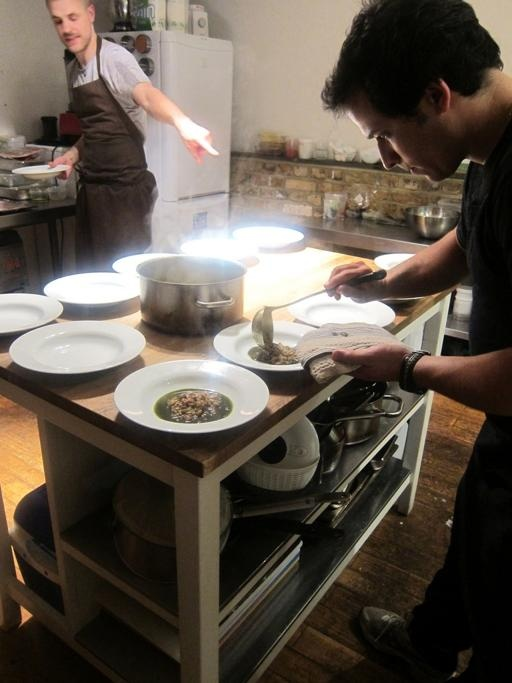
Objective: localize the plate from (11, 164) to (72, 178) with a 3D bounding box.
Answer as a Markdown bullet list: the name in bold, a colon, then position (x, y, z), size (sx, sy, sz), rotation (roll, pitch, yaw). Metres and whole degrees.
- **plate**: position (-0.942, -0.758, 2.436), size (0.170, 0.025, 0.168), rotation (-21, 36, -39)

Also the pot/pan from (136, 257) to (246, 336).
- **pot/pan**: position (-0.132, -0.093, 1.148), size (0.197, 0.085, 0.236), rotation (-12, 27, -29)

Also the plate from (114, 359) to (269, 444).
- **plate**: position (-0.107, 0.094, 0.870), size (0.146, 0.017, 0.135), rotation (-6, 27, -20)

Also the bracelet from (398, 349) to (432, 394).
- **bracelet**: position (0.260, 0.055, 0.887), size (0.049, 0.073, 0.062), rotation (13, 23, 37)

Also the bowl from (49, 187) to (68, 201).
- **bowl**: position (-1.071, -0.797, 2.971), size (0.086, 0.046, 0.080), rotation (2, 31, -1)

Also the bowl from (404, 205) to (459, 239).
- **bowl**: position (0.945, -0.630, 2.958), size (0.281, 0.132, 0.258), rotation (-2, 24, 1)

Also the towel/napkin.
- **towel/napkin**: position (0.148, 0.009, 0.969), size (0.143, 0.038, 0.134), rotation (-11, 27, -17)

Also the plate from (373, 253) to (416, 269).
- **plate**: position (0.414, -0.245, 1.680), size (0.117, 0.025, 0.112), rotation (-3, 28, -2)

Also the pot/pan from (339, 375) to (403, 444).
- **pot/pan**: position (0.332, 0.194, 1.503), size (0.220, 0.076, 0.131), rotation (-23, 31, -35)

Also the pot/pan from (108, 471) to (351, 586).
- **pot/pan**: position (-0.093, 0.363, 1.075), size (0.381, 0.149, 0.209), rotation (-1, 17, 1)

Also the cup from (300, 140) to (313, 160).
- **cup**: position (0.270, -1.082, 3.080), size (0.062, 0.099, 0.176), rotation (9, 20, 28)

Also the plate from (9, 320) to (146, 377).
- **plate**: position (-0.331, 0.006, 1.011), size (0.136, 0.013, 0.137), rotation (-16, 34, -36)

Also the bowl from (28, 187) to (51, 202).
- **bowl**: position (-1.150, -0.782, 2.906), size (0.084, 0.058, 0.090), rotation (5, 25, -3)

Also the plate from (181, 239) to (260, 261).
- **plate**: position (-0.109, -0.267, 1.603), size (0.139, 0.017, 0.137), rotation (21, 30, 32)
